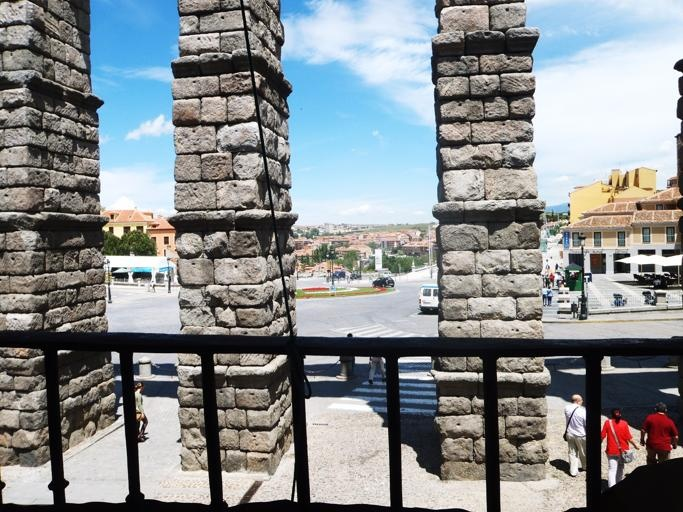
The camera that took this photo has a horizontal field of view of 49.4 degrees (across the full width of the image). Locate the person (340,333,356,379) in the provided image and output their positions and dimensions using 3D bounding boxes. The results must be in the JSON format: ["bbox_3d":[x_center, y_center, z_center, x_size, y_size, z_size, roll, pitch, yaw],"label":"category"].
[{"bbox_3d":[0.159,3.498,23.528,0.447,1.217,1.327,-2,0,-1],"label":"person"}]

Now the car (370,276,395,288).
[{"bbox_3d":[3.837,2.413,68.635,0.941,0.698,1.866,-2,5,-29],"label":"car"}]

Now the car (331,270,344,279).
[{"bbox_3d":[-0.538,2.658,106.646,1.851,0.834,2.877,-1,-2,3],"label":"car"}]

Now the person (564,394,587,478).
[{"bbox_3d":[4.904,3.788,15.704,0.415,1.763,0.645,-3,0,15],"label":"person"}]

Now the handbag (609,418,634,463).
[{"bbox_3d":[5.563,3.739,14.936,0.317,0.824,0.528,-28,-22,33],"label":"handbag"}]

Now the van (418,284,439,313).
[{"bbox_3d":[4.657,2.354,39.980,0.937,1.561,2.024,-2,-1,2],"label":"van"}]

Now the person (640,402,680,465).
[{"bbox_3d":[6.496,3.630,15.320,0.686,1.302,0.780,-2,0,21],"label":"person"}]
